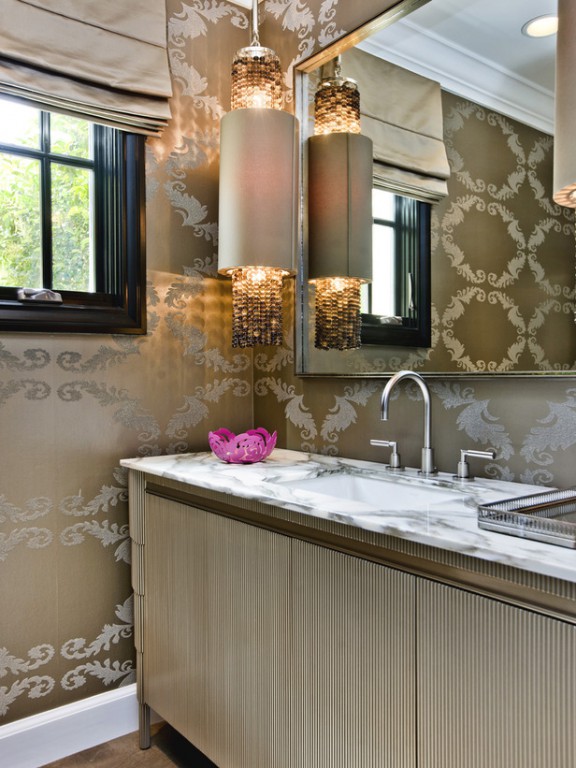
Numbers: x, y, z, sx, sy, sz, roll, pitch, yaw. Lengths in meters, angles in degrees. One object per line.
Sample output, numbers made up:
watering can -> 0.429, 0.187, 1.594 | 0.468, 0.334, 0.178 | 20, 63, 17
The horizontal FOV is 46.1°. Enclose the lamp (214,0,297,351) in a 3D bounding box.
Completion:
lamp -> -0.073, -0.629, 1.948 | 0.212, 1.039, 0.302 | 1, 3, 23
